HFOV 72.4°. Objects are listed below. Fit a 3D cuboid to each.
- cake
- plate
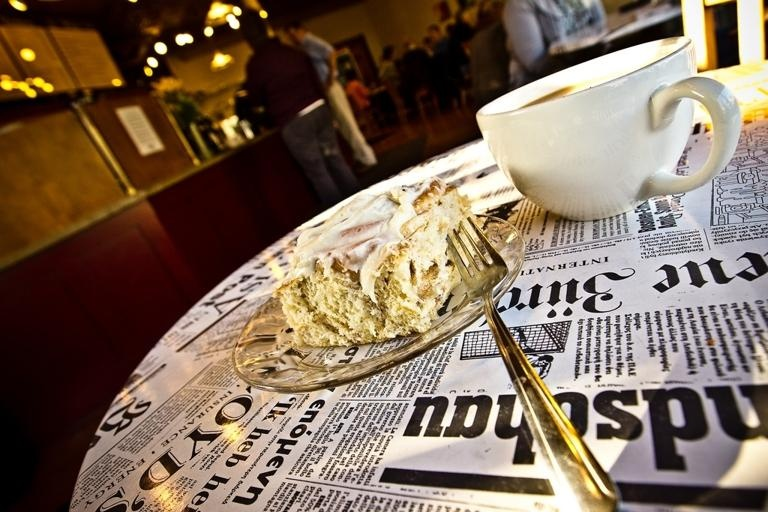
[{"bbox_3d":[-0.013,0.003,0.878,0.271,0.154,0.338,-9,17,9],"label":"cake"},{"bbox_3d":[-0.041,0.108,0.674,0.249,0.251,0.025,-3,55,-10],"label":"plate"}]
